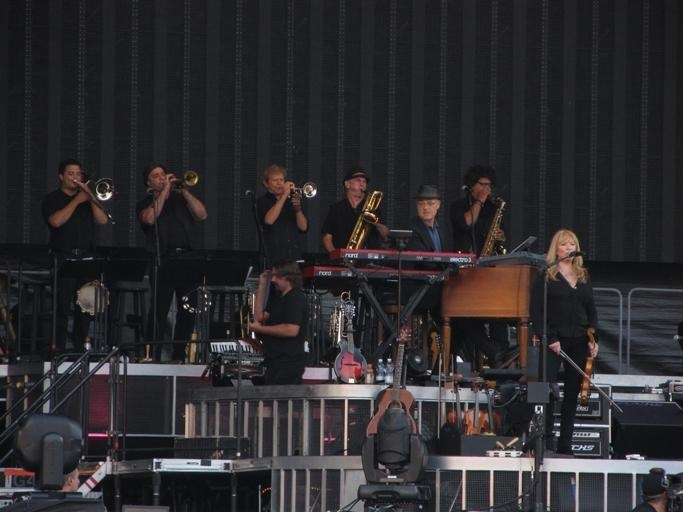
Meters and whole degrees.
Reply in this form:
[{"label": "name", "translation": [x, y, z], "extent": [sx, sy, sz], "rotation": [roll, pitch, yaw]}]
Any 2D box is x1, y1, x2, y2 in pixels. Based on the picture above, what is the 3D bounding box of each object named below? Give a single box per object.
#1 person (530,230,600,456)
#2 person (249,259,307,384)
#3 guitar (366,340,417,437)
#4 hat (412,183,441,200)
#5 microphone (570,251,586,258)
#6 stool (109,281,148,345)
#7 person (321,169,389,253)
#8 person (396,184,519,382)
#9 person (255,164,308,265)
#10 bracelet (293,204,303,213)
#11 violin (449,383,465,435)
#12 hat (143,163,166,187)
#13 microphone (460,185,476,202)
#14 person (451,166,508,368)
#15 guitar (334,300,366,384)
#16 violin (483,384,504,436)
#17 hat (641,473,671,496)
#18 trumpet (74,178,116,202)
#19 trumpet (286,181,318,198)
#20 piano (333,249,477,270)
[{"label": "person", "translation": [2.360, 0.863, 19.083], "extent": [0.609, 2.407, 0.664], "rotation": [3, 3, 9]}, {"label": "person", "translation": [-0.686, 0.754, 19.849], "extent": [0.623, 1.402, 0.688], "rotation": [-3, -11, 12]}, {"label": "guitar", "translation": [0.518, 1.383, 18.940], "extent": [0.514, 1.056, 0.805], "rotation": [-1, -11, 1]}, {"label": "hat", "translation": [1.046, -0.774, 21.765], "extent": [0.289, 0.135, 0.363], "rotation": [1, -6, 5]}, {"label": "microphone", "translation": [2.474, -0.015, 18.774], "extent": [0.172, 0.063, 0.050], "rotation": [-9, -47, 0]}, {"label": "stool", "translation": [-2.543, 0.668, 21.421], "extent": [0.498, 0.876, 0.454], "rotation": [-2, 5, -24]}, {"label": "person", "translation": [0.124, -0.470, 21.261], "extent": [0.670, 1.075, 0.568], "rotation": [1, 5, -28]}, {"label": "person", "translation": [1.319, 0.283, 20.916], "extent": [1.042, 2.276, 0.916], "rotation": [-1, 5, -21]}, {"label": "person", "translation": [-0.710, -0.462, 21.446], "extent": [0.586, 1.228, 0.403], "rotation": [0, -11, -3]}, {"label": "bracelet", "translation": [-0.515, -0.559, 21.465], "extent": [0.103, 0.074, 0.070], "rotation": [8, 29, -37]}, {"label": "violin", "translation": [1.253, 1.627, 19.302], "extent": [0.200, 0.441, 0.080], "rotation": [-2, -3, 3]}, {"label": "hat", "translation": [-2.234, -0.963, 21.350], "extent": [0.231, 0.238, 0.262], "rotation": [-12, 13, -20]}, {"label": "microphone", "translation": [1.460, -0.729, 20.892], "extent": [0.206, 0.283, 0.111], "rotation": [0, 3, 7]}, {"label": "person", "translation": [1.580, 0.104, 21.532], "extent": [0.881, 2.476, 0.797], "rotation": [1, -10, 4]}, {"label": "guitar", "translation": [0.117, 0.997, 20.368], "extent": [0.277, 0.842, 0.361], "rotation": [2, 3, 9]}, {"label": "violin", "translation": [1.640, 1.675, 19.428], "extent": [0.249, 0.462, 0.128], "rotation": [-2, 3, -24]}, {"label": "hat", "translation": [3.101, 2.246, 17.756], "extent": [0.231, 0.217, 0.202], "rotation": [15, -17, -33]}, {"label": "trumpet", "translation": [-3.009, -0.793, 21.712], "extent": [0.225, 0.177, 0.340], "rotation": [24, -20, 24]}, {"label": "trumpet", "translation": [-0.496, -0.793, 21.848], "extent": [0.321, 0.173, 0.163], "rotation": [-6, -34, 38]}, {"label": "piano", "translation": [0.698, 0.023, 19.788], "extent": [1.610, 0.215, 0.501], "rotation": [0, -11, -3]}]
